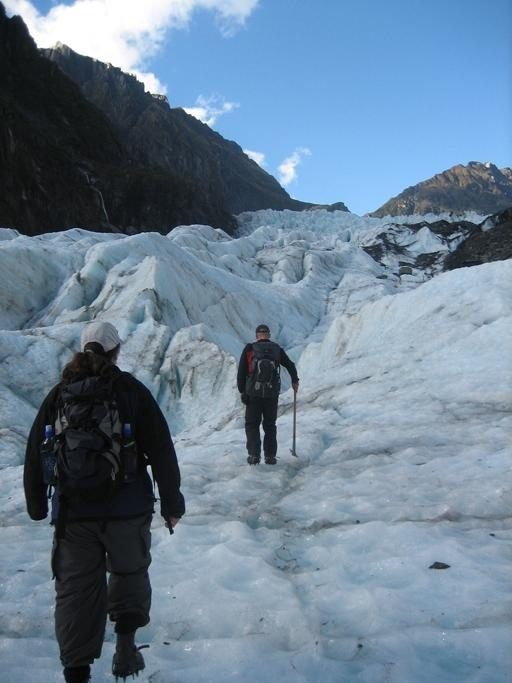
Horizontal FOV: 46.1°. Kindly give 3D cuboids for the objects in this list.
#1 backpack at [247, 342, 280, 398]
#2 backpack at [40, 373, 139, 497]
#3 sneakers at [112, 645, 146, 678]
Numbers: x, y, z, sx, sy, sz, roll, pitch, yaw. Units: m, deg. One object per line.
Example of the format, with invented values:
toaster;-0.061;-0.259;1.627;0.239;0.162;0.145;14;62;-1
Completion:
backpack;0.072;0.272;5.822;0.353;0.496;0.352;8;5;20
backpack;-0.762;0.428;2.809;0.451;0.532;0.312;-1;-3;-6
sneakers;-0.562;1.485;2.787;0.137;0.148;0.165;0;-29;-4
